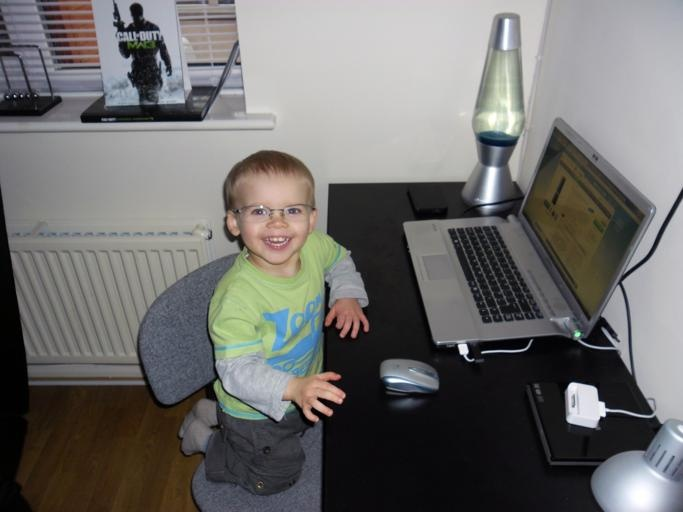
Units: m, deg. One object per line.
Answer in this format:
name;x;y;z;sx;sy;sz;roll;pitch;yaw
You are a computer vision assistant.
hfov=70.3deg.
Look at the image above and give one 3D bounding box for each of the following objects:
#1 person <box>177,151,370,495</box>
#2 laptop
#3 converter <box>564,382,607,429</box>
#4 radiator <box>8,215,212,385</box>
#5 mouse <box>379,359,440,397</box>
person;-0.185;0.257;1.294;0.406;0.901;0.431;-1;36;-25
laptop;0.326;-0.016;1.368;0.567;0.565;0.656;0;31;0
converter;0.517;0.318;1.025;0.084;0.041;0.085;10;39;12
radiator;-0.942;0.202;1.890;0.636;0.626;0.308;-14;36;-29
mouse;0.149;0.265;1.079;0.131;0.041;0.085;7;29;8
